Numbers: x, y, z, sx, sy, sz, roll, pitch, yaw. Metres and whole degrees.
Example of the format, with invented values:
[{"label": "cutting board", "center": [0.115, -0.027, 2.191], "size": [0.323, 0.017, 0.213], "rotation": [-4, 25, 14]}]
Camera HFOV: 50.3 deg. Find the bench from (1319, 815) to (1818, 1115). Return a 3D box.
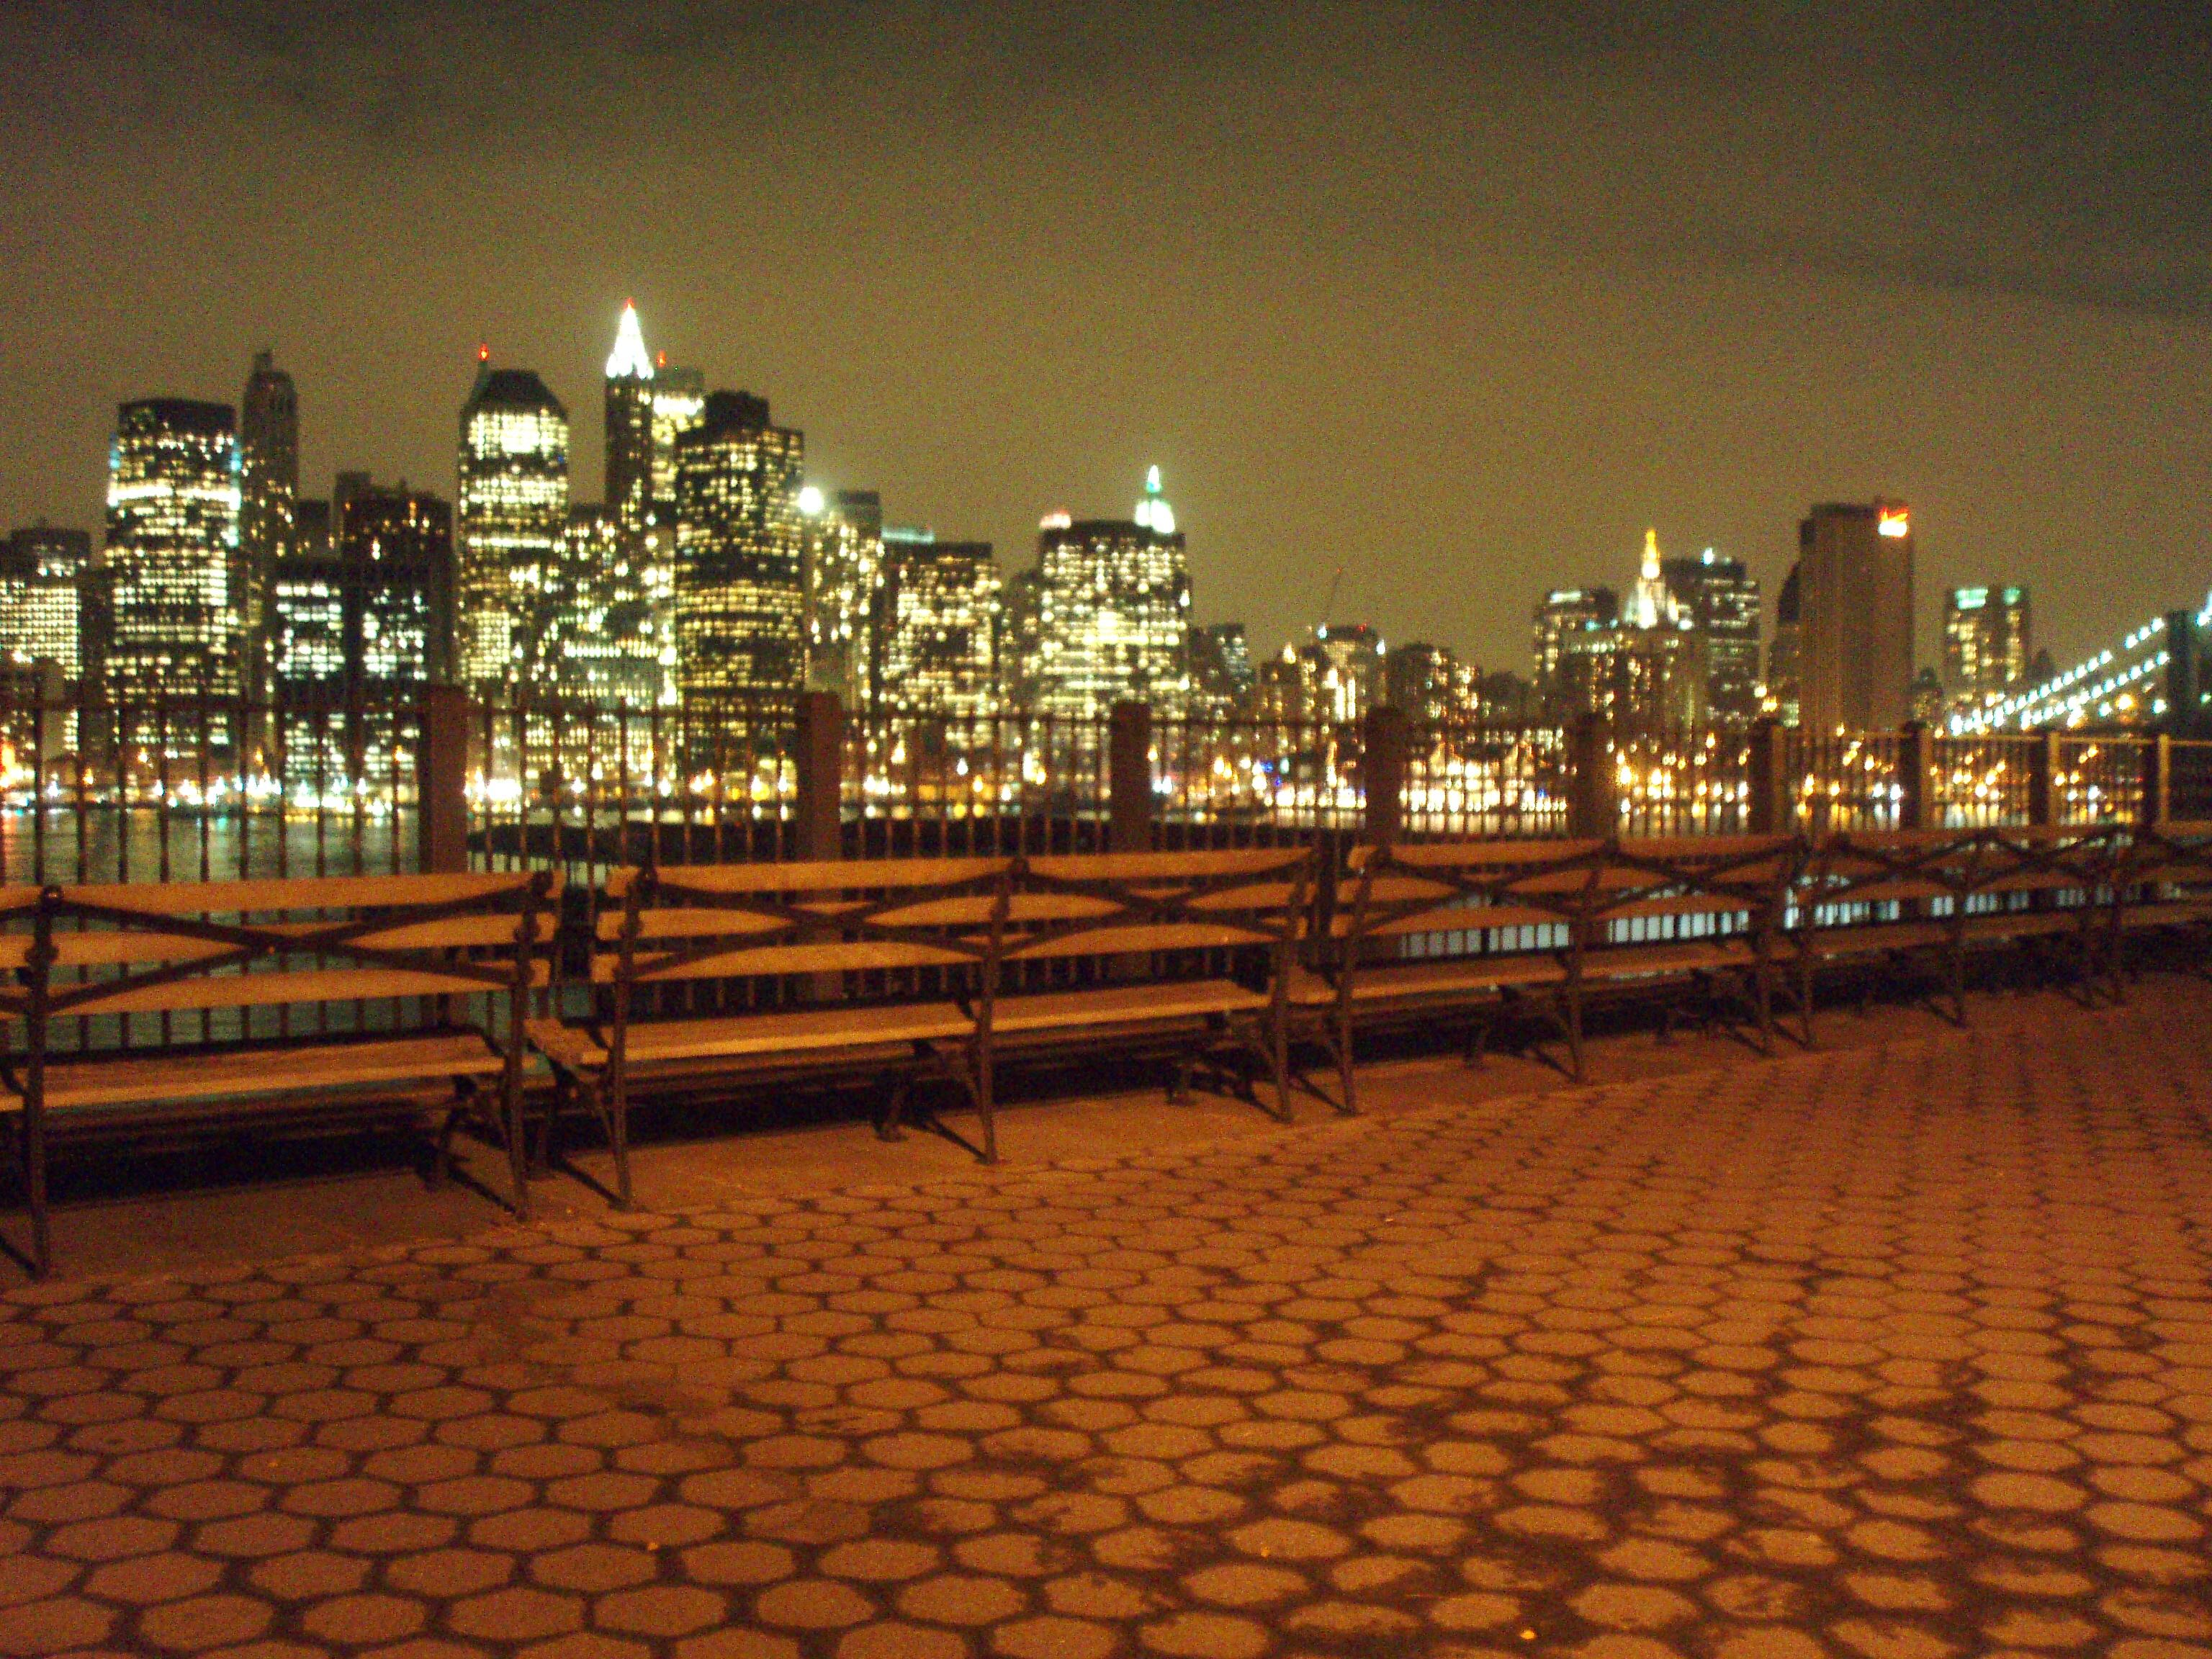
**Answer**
[{"label": "bench", "center": [2.195, 0.609, 11.929], "size": [2.895, 1.166, 0.971], "rotation": [-1, 4, -29]}]
